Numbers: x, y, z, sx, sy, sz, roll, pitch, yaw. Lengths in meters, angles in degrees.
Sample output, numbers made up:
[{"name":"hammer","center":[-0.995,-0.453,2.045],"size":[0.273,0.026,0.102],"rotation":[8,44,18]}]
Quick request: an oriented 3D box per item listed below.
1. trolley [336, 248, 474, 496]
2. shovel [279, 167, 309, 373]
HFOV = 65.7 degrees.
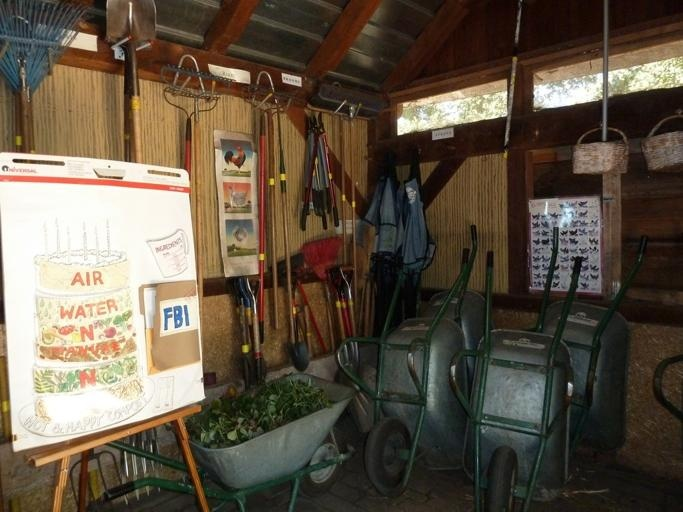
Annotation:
[{"name":"trolley","center":[0.441,0.654,3.403],"size":[0.694,1.612,0.778],"rotation":[1,8,-21]},{"name":"shovel","center":[-0.350,0.107,4.009],"size":[0.201,1.518,0.423],"rotation":[-1,4,-6]}]
